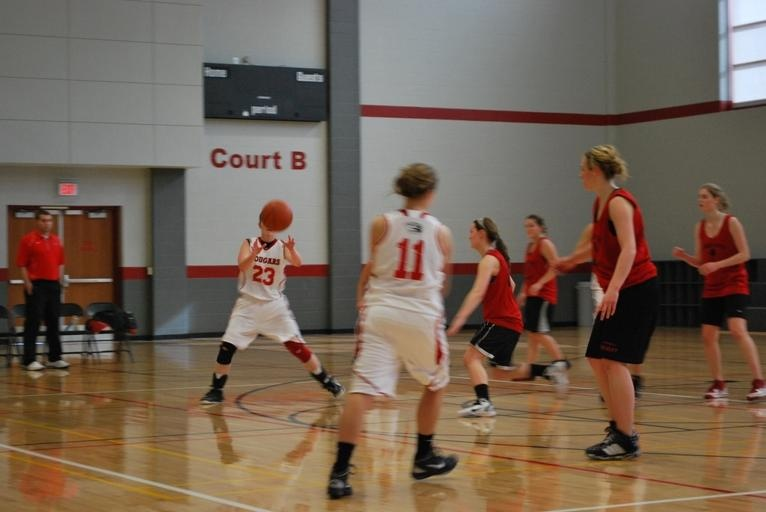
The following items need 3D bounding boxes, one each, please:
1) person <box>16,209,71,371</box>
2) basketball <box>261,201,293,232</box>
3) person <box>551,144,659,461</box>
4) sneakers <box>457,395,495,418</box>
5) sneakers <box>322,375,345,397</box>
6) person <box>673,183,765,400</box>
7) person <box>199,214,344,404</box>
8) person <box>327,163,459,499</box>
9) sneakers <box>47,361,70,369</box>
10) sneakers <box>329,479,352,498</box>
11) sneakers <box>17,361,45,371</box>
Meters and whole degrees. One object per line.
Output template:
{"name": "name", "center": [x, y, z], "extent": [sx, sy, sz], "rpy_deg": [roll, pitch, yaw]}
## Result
{"name": "person", "center": [-5.235, 0.543, 10.268], "extent": [0.614, 2.482, 0.812], "rpy_deg": [-2, 2, -24]}
{"name": "basketball", "center": [-1.158, -0.412, 7.166], "extent": [0.417, 0.316, 0.358], "rpy_deg": [1, 3, -12]}
{"name": "person", "center": [1.743, 0.351, 5.054], "extent": [0.521, 2.406, 0.509], "rpy_deg": [-3, 3, -43]}
{"name": "sneakers", "center": [0.887, 1.552, 6.797], "extent": [0.514, 0.196, 0.164], "rpy_deg": [1, -12, 9]}
{"name": "sneakers", "center": [-0.555, 1.526, 7.805], "extent": [0.178, 0.139, 0.341], "rpy_deg": [14, -20, 30]}
{"name": "person", "center": [3.907, 0.420, 7.718], "extent": [0.935, 2.496, 0.844], "rpy_deg": [0, 2, 21]}
{"name": "person", "center": [-1.311, 0.659, 7.473], "extent": [1.424, 1.978, 0.454], "rpy_deg": [-1, 2, -14]}
{"name": "person", "center": [0.060, 0.470, 4.511], "extent": [0.939, 2.215, 0.453], "rpy_deg": [-1, 2, -11]}
{"name": "sneakers", "center": [-5.150, 1.727, 10.635], "extent": [0.494, 0.126, 0.174], "rpy_deg": [-7, -9, 30]}
{"name": "sneakers", "center": [-0.282, 1.494, 4.288], "extent": [0.174, 0.127, 0.094], "rpy_deg": [5, -10, -12]}
{"name": "sneakers", "center": [-5.507, 1.730, 10.485], "extent": [0.441, 0.120, 0.141], "rpy_deg": [-6, -9, 30]}
